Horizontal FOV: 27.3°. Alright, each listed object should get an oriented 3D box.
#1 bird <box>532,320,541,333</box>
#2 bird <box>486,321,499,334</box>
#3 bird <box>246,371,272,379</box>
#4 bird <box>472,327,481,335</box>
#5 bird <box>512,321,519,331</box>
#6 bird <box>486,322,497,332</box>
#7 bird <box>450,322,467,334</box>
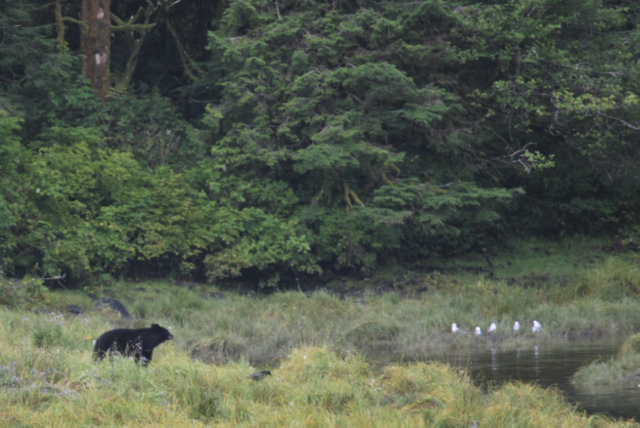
[{"bbox_3d":[8.127,4.095,49.493,0.298,0.396,0.465,-1,1,11],"label":"bird"},{"bbox_3d":[6.476,4.187,49.603,0.260,0.353,0.565,1,2,27],"label":"bird"},{"bbox_3d":[-1.993,5.296,44.439,0.907,0.215,0.393,-1,1,-32],"label":"bird"},{"bbox_3d":[5.863,4.277,49.325,0.232,0.155,0.371,8,5,8],"label":"bird"},{"bbox_3d":[7.358,4.091,49.496,0.212,0.326,0.254,-1,1,7],"label":"bird"},{"bbox_3d":[6.485,4.123,49.518,0.190,0.192,0.431,5,9,24],"label":"bird"},{"bbox_3d":[5.204,4.175,49.686,0.510,0.358,0.715,-1,1,6],"label":"bird"}]
